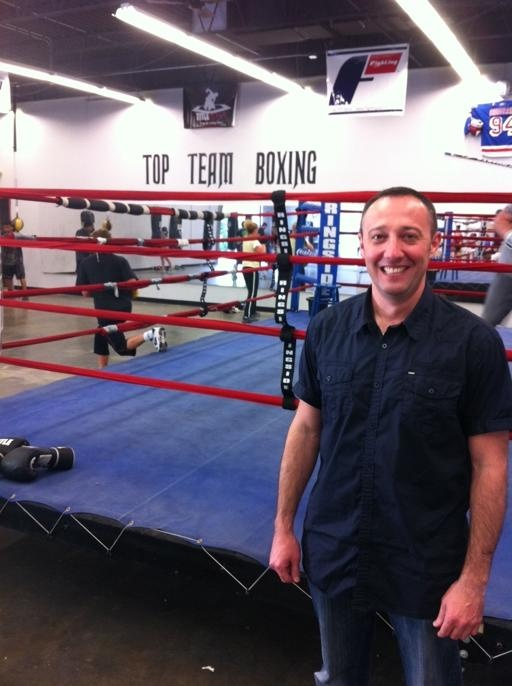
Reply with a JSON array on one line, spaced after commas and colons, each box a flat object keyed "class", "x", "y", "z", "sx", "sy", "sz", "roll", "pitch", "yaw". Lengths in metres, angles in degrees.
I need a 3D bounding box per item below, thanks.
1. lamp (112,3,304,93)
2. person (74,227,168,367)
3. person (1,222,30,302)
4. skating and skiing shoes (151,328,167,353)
[{"class": "lamp", "x": -0.411, "y": -3.121, "z": 5.963, "sx": 0.225, "sy": 0.152, "sz": 2.699, "roll": 9, "pitch": 12, "yaw": 35}, {"class": "person", "x": -1.054, "y": -0.275, "z": 4.283, "sx": 0.615, "sy": 1.213, "sz": 1.488, "roll": -2, "pitch": 11, "yaw": -18}, {"class": "person", "x": -3.802, "y": -1.323, "z": 8.661, "sx": 0.300, "sy": 1.112, "sz": 2.658, "roll": -3, "pitch": 11, "yaw": -22}, {"class": "skating and skiing shoes", "x": -0.680, "y": -0.025, "z": 3.996, "sx": 0.114, "sy": 0.122, "sz": 0.308, "roll": -4, "pitch": -2, "yaw": -3}]
